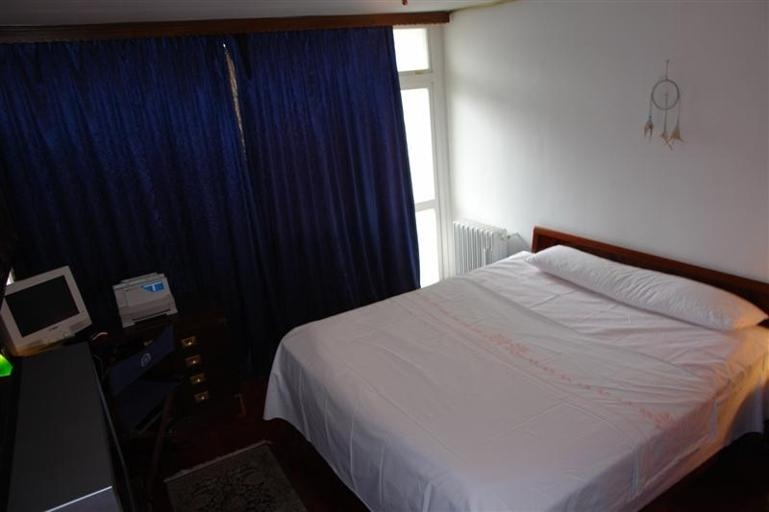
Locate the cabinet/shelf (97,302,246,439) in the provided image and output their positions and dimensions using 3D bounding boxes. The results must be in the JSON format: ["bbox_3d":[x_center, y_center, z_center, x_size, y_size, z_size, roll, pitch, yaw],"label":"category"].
[{"bbox_3d":[-1.694,0.908,3.986,0.799,0.767,0.370,-24,33,-39],"label":"cabinet/shelf"}]

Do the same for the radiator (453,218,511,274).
[{"bbox_3d":[1.006,-0.102,5.506,0.483,0.512,0.167,4,21,20],"label":"radiator"}]
